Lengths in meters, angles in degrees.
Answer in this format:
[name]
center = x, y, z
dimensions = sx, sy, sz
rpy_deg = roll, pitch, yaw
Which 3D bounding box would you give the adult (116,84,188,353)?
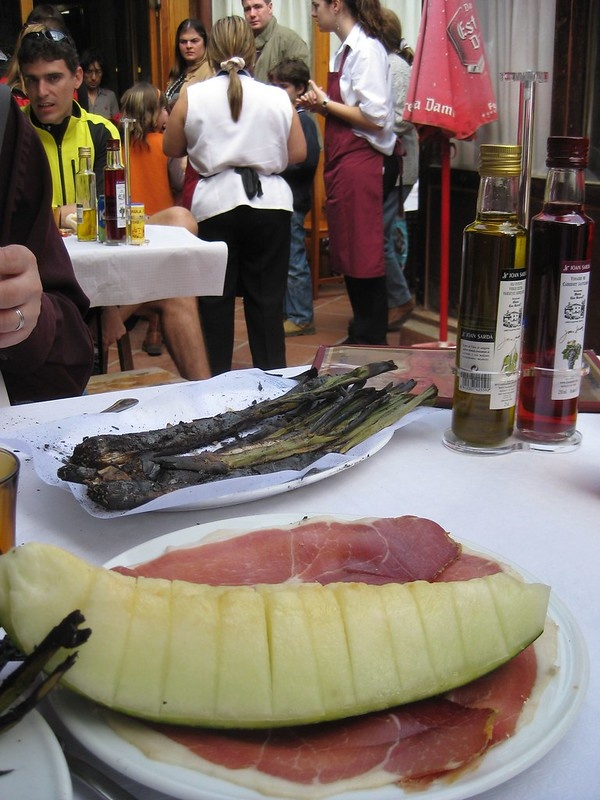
[adult]
center = -0.980, -1.510, 4.879
dimensions = 0.508, 1.560, 0.408
rpy_deg = -18, 51, -23

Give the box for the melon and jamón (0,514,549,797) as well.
[melon and jamón]
center = -0.008, 0.141, 0.388
dimensions = 0.212, 0.058, 0.174
rpy_deg = -4, 16, -13

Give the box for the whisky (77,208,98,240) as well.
[whisky]
center = -0.922, -0.768, 2.915
dimensions = 0.083, 0.130, 0.086
rpy_deg = 33, 40, 27
